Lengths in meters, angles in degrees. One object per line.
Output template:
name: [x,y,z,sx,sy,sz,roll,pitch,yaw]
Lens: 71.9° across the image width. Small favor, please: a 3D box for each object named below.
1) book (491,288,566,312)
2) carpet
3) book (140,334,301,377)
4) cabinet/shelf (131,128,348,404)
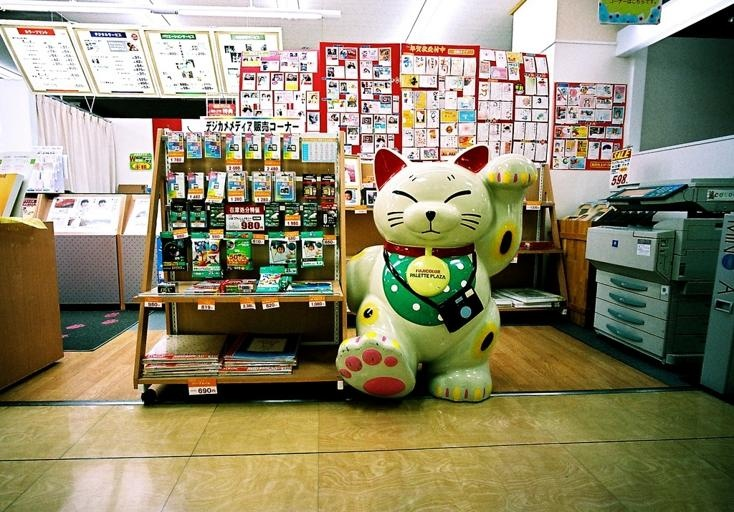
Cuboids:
book: [1.685,0.481,5.415,0.746,0.154,0.465,-3,7,-4]
carpet: [-2.739,0.685,5.256,0.773,0.034,0.476,-35,-32,24]
book: [-1.114,0.765,3.948,1.132,0.252,0.408,-2,7,1]
cabinet/shelf: [-0.958,0.031,3.921,1.642,2.035,0.592,-3,8,-2]
